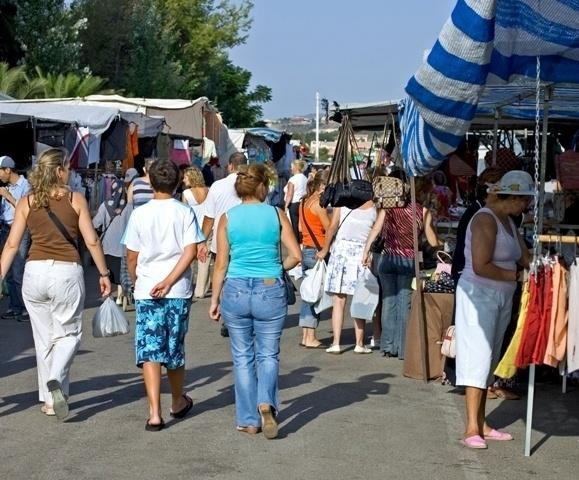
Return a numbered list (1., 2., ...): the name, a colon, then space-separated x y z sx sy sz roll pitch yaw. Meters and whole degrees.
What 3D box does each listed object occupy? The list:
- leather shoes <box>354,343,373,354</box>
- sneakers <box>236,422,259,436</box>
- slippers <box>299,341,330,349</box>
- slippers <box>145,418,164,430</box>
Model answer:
1. leather shoes: 0.875 1.294 8.969 0.222 0.103 0.091 0 4 -25
2. sneakers: -0.349 1.561 6.184 0.073 0.085 0.189 5 6 36
3. slippers: 0.288 1.272 9.234 0.314 0.088 0.115 -1 1 -2
4. slippers: -1.118 1.521 6.208 0.157 0.083 0.131 0 6 -10
